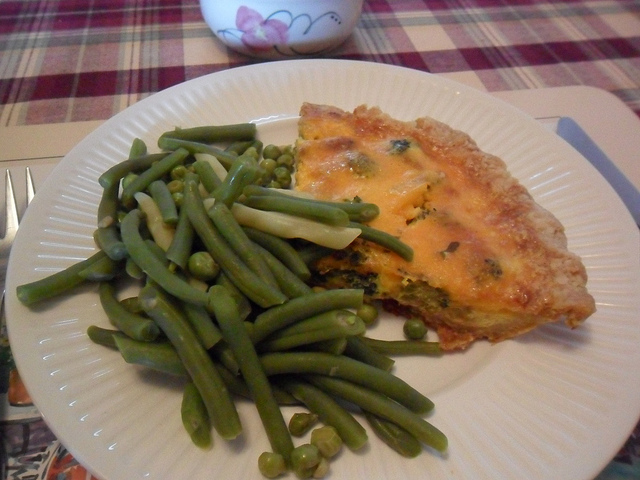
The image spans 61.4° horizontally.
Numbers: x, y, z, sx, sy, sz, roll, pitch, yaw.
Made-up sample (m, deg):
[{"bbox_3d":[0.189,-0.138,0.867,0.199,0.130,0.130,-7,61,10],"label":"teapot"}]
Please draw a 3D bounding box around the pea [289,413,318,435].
[{"bbox_3d":[-0.115,1.223,3.618,0.174,0.069,0.122,-9,44,-17],"label":"pea"}]

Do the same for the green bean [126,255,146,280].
[{"bbox_3d":[-1.321,0.204,3.853,0.128,0.166,0.096,1,55,4],"label":"green bean"}]

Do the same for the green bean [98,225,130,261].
[{"bbox_3d":[-1.517,0.023,3.939,0.159,0.084,0.304,-19,41,-12],"label":"green bean"}]

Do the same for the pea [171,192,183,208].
[{"bbox_3d":[-1.083,-0.300,4.060,0.081,0.075,0.078,32,46,-31],"label":"pea"}]

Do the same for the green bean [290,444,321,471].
[{"bbox_3d":[-0.098,1.374,3.415,0.156,0.072,0.149,-34,92,-11],"label":"green bean"}]

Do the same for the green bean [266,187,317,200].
[{"bbox_3d":[-0.221,-0.364,4.190,0.306,0.047,0.038,17,67,24],"label":"green bean"}]

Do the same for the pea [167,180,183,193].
[{"bbox_3d":[-1.136,-0.421,4.206,0.094,0.087,0.095,-21,84,-14],"label":"pea"}]

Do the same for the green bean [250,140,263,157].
[{"bbox_3d":[-0.581,-0.828,4.848,0.102,0.067,0.195,0,33,-5],"label":"green bean"}]

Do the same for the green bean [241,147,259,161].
[{"bbox_3d":[-0.605,-0.775,4.750,0.112,0.067,0.140,7,38,5],"label":"green bean"}]

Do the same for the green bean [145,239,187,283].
[{"bbox_3d":[-1.065,0.151,3.711,0.069,0.092,0.332,-41,65,-4],"label":"green bean"}]

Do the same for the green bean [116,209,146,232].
[{"bbox_3d":[-1.476,-0.185,4.121,0.175,0.058,0.208,22,43,7],"label":"green bean"}]

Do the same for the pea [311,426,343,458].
[{"bbox_3d":[0.062,1.317,3.542,0.183,0.099,0.185,-34,49,-12],"label":"pea"}]

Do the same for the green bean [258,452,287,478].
[{"bbox_3d":[-0.309,1.426,3.439,0.166,0.069,0.156,-16,69,-7],"label":"green bean"}]

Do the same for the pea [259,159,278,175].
[{"bbox_3d":[-0.453,-0.642,4.801,0.119,0.118,0.148,-32,109,-31],"label":"pea"}]

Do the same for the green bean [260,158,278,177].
[{"bbox_3d":[-0.450,-0.678,4.785,0.135,0.140,0.162,-21,50,-24],"label":"green bean"}]

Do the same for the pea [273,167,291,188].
[{"bbox_3d":[-0.334,-0.534,4.657,0.128,0.176,0.140,7,101,-6],"label":"pea"}]

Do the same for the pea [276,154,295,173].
[{"bbox_3d":[-0.306,-0.697,4.858,0.160,0.119,0.128,-17,85,-42],"label":"pea"}]

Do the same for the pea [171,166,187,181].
[{"bbox_3d":[-1.134,-0.534,4.306,0.094,0.073,0.127,-6,38,-9],"label":"pea"}]

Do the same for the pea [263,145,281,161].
[{"bbox_3d":[-0.438,-0.791,4.847,0.146,0.130,0.139,13,67,41],"label":"pea"}]

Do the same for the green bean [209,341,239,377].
[{"bbox_3d":[-0.636,0.797,3.694,0.132,0.091,0.263,-43,67,-9],"label":"green bean"}]

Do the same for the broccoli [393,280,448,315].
[{"bbox_3d":[0.786,0.433,4.086,0.291,0.300,0.087,14,44,13],"label":"broccoli"}]
